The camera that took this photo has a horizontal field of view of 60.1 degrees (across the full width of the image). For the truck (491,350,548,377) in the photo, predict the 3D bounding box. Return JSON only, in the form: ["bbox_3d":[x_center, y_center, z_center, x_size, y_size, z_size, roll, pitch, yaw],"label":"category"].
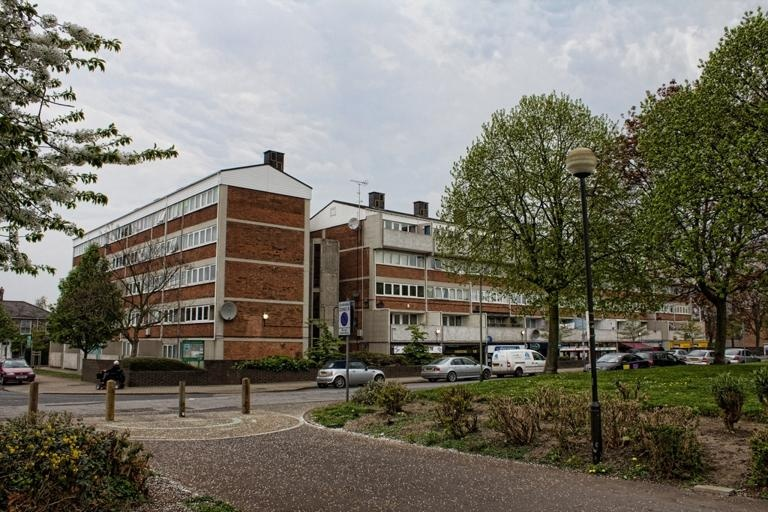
[{"bbox_3d":[9.600,7.550,47.524,3.693,1.417,2.143,1,-4,-32],"label":"truck"}]

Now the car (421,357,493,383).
[{"bbox_3d":[4.863,7.742,45.258,4.295,1.390,1.888,1,-6,-30],"label":"car"}]

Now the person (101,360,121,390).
[{"bbox_3d":[-15.500,6.703,37.644,1.311,1.592,1.014,4,-12,-24],"label":"person"}]

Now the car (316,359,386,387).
[{"bbox_3d":[-1.967,7.526,39.602,3.819,1.556,2.440,0,-5,-16],"label":"car"}]
